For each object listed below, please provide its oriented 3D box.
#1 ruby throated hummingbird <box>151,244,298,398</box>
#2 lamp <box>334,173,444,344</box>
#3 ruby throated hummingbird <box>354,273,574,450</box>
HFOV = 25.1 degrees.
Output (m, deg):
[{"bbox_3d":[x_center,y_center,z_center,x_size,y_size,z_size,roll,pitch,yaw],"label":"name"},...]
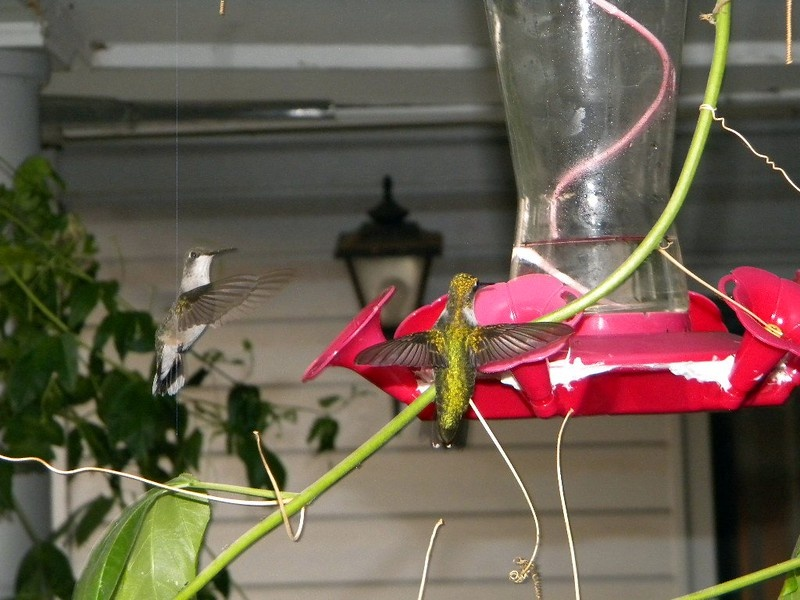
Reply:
[{"bbox_3d":[-0.429,0.031,3.839,0.349,0.259,0.147,-23,-88,12],"label":"ruby throated hummingbird"},{"bbox_3d":[-0.024,-0.127,5.216,0.385,0.345,0.472,-6,-82,-20],"label":"lamp"},{"bbox_3d":[0.125,0.131,3.650,0.371,0.277,0.174,-26,-44,-14],"label":"ruby throated hummingbird"}]
